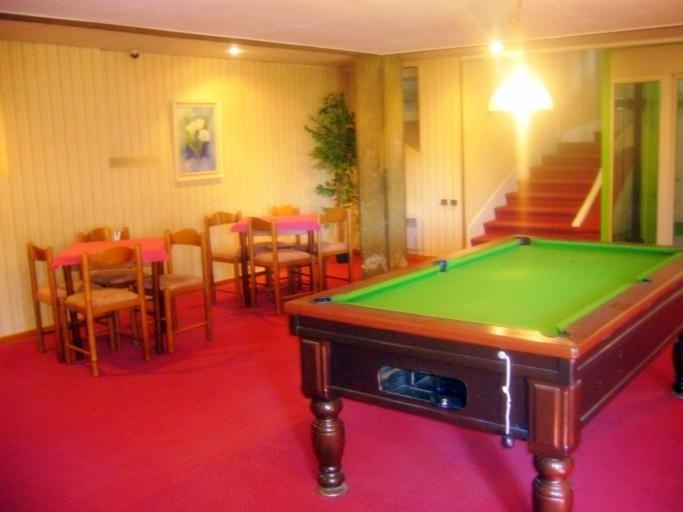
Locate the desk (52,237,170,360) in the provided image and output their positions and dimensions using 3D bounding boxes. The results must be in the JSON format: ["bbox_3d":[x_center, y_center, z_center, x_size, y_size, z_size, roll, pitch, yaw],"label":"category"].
[{"bbox_3d":[-2.165,0.467,5.212,1.083,0.794,0.965,-7,-23,-45],"label":"desk"}]

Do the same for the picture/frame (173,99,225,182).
[{"bbox_3d":[-1.865,-1.485,7.210,0.176,0.969,0.760,9,19,34],"label":"picture/frame"}]
